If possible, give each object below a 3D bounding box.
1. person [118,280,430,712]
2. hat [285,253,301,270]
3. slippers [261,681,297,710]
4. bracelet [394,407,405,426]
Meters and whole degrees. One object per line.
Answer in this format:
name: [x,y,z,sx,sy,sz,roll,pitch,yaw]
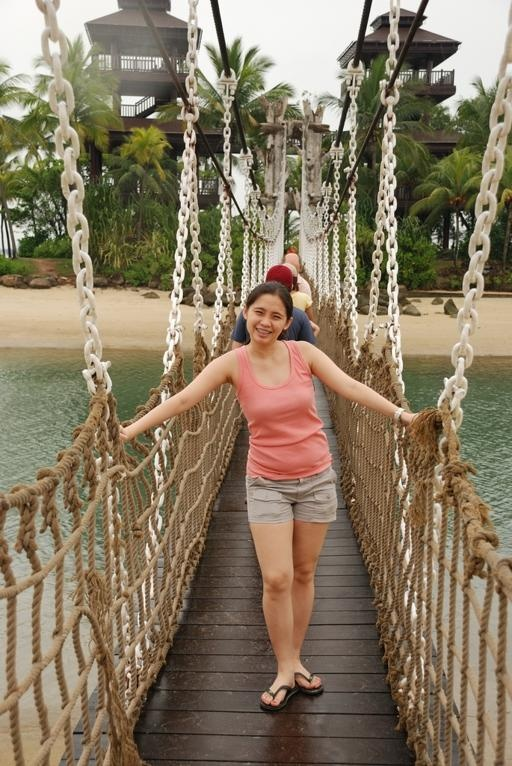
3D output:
person: [0.062,0.329,1.734,0.747,1.220,0.284,-1,5,-23]
hat: [0.325,-1.056,5.385,0.139,0.124,0.291,8,22,6]
slippers: [0.053,0.902,1.740,0.052,0.035,0.096,0,1,35]
bracelet: [0.436,0.105,1.806,0.036,0.044,0.018,1,0,14]
